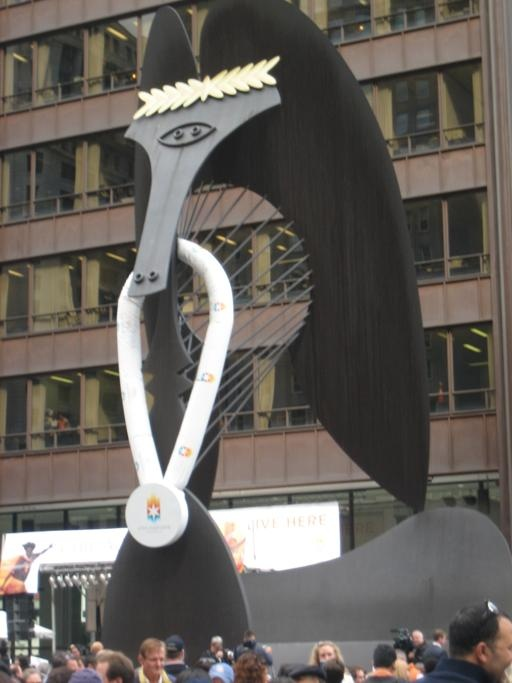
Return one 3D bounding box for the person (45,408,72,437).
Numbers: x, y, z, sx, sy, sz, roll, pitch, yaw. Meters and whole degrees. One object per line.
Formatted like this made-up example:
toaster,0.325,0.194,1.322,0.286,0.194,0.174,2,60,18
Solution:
person,-4.731,1.994,52.063,0.624,0.759,0.768,-2,-6,-4
